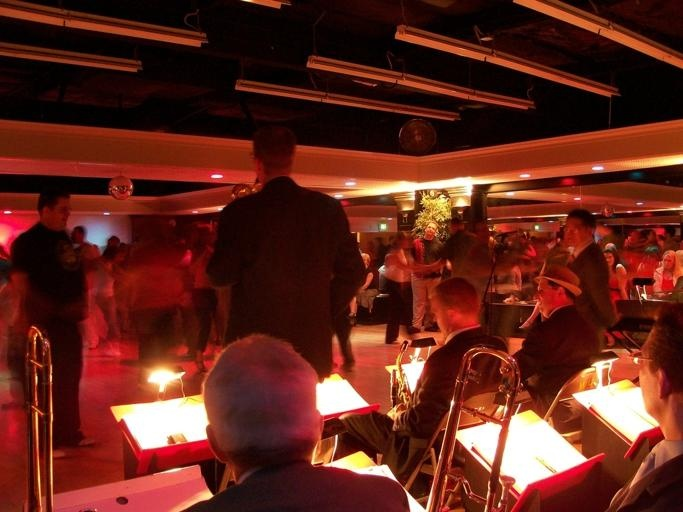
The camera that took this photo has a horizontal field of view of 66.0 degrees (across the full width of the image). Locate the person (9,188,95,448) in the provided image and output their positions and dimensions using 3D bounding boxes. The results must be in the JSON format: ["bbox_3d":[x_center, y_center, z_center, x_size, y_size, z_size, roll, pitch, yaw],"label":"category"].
[{"bbox_3d":[-2.258,0.514,4.213,0.677,2.054,0.694,3,3,36],"label":"person"}]

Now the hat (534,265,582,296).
[{"bbox_3d":[1.650,0.191,3.901,0.309,0.107,0.265,25,-4,-9],"label":"hat"}]
